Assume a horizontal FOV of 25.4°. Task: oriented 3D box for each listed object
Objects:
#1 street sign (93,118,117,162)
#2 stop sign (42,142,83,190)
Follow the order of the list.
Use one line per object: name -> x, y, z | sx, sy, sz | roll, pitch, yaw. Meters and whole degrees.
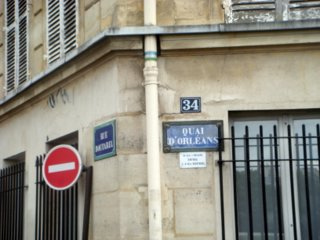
street sign -> -0.879, 0.340, 11.574 | 0.053, 0.609, 0.548 | 8, -18, -34
stop sign -> -1.604, 0.808, 11.890 | 0.662, 0.739, 0.093 | -8, -13, 32
